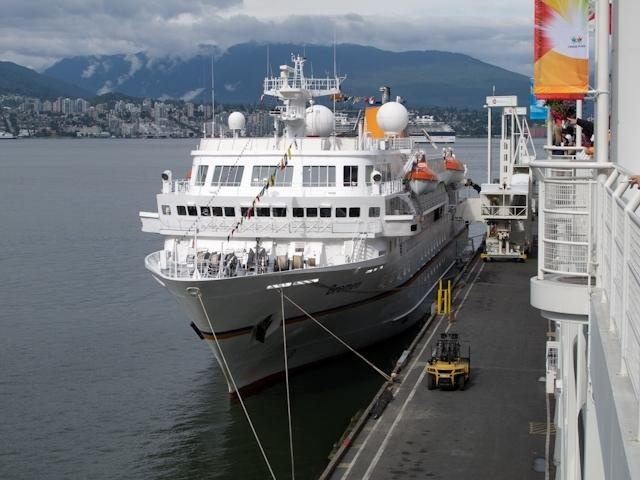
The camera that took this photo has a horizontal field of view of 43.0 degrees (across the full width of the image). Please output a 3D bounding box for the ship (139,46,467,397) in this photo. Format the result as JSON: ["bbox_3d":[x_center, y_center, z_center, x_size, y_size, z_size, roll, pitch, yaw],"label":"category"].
[{"bbox_3d":[-0.064,-1.016,35.350,7.468,9.008,19.919,1,6,19],"label":"ship"}]
